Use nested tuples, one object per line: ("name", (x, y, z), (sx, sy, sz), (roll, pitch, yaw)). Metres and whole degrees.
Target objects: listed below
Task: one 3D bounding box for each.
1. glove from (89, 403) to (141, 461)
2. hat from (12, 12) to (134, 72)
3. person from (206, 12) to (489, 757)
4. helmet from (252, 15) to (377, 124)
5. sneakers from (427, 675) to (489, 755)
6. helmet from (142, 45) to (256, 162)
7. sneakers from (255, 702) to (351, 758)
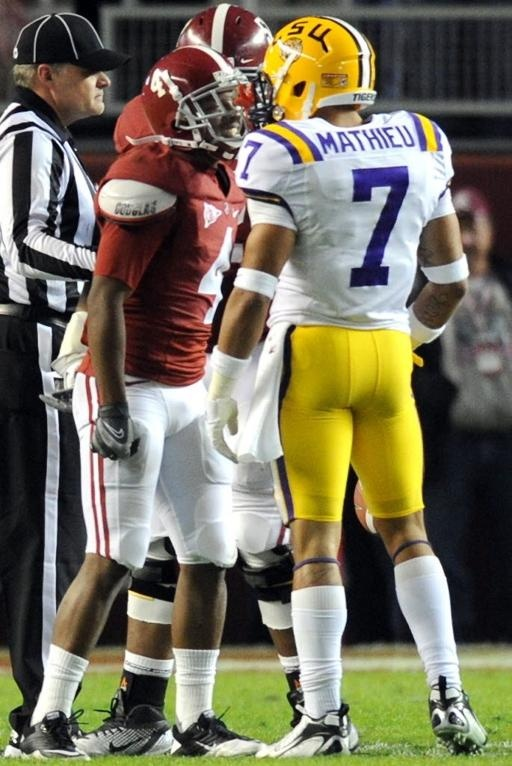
("glove", (-0.296, 0.114, 2.257), (0.138, 0.111, 0.095), (-5, 4, 3))
("hat", (-0.507, -0.939, 2.924), (0.317, 0.129, 0.176), (3, 24, 12))
("person", (0.231, -0.007, 2.448), (0.675, 1.714, 0.565), (-1, 5, -17))
("helmet", (0.142, -0.718, 2.472), (0.311, 0.219, 0.261), (11, 14, 29))
("sneakers", (0.441, 0.739, 2.306), (0.079, 0.086, 0.201), (-20, -33, 10))
("helmet", (-0.132, -0.664, 2.511), (0.297, 0.240, 0.225), (7, 25, 27))
("sneakers", (0.070, 0.751, 2.291), (0.274, 0.103, 0.086), (-8, -19, 18))
